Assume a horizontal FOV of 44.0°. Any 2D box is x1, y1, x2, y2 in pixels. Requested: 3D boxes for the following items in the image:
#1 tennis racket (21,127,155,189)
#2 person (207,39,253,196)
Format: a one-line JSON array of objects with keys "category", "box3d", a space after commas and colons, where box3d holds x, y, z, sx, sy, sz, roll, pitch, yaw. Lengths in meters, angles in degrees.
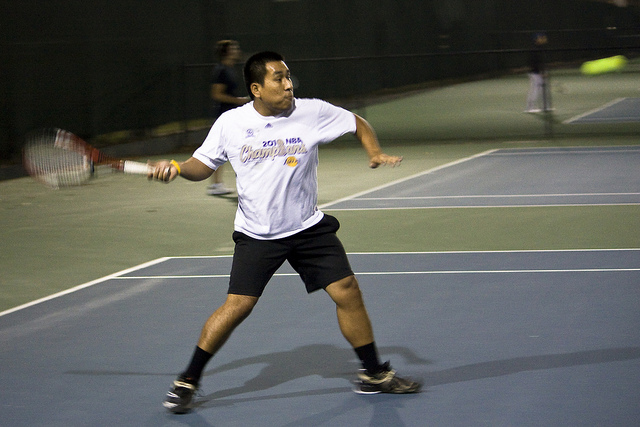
[{"category": "tennis racket", "box3d": [-1.906, -0.429, 6.433, 1.217, 0.429, 0.473, 6, 16, 11]}, {"category": "person", "box3d": [-1.530, -1.798, 12.512, 0.751, 1.804, 0.648, 8, 31, -13]}]
